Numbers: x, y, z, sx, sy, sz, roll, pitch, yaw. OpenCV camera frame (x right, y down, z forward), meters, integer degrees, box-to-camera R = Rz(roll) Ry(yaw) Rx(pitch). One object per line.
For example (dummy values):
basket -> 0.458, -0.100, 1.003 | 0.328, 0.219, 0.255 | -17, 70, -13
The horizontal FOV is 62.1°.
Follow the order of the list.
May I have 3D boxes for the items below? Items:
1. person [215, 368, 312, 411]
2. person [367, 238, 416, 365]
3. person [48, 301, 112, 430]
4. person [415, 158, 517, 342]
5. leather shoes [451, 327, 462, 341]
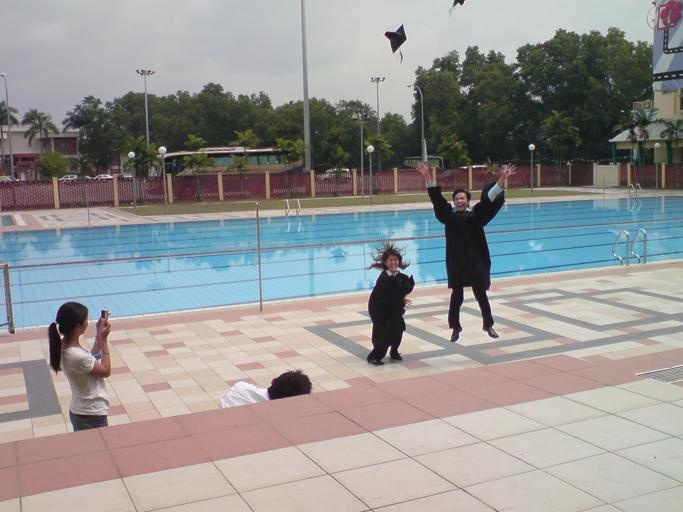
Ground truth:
person -> -0.822, 1.380, 6.083 | 0.965, 0.358, 0.413 | -3, 6, -8
person -> 0.672, 0.653, 7.885 | 0.643, 1.598, 0.583 | -1, 6, 7
person -> -2.347, 1.031, 5.128 | 0.493, 1.243, 0.440 | -4, 7, -27
person -> 1.792, 0.001, 8.083 | 1.247, 2.682, 1.188 | 1, 6, 19
leather shoes -> 1.653, 1.119, 8.221 | 0.104, 0.145, 0.327 | -2, 17, 21
